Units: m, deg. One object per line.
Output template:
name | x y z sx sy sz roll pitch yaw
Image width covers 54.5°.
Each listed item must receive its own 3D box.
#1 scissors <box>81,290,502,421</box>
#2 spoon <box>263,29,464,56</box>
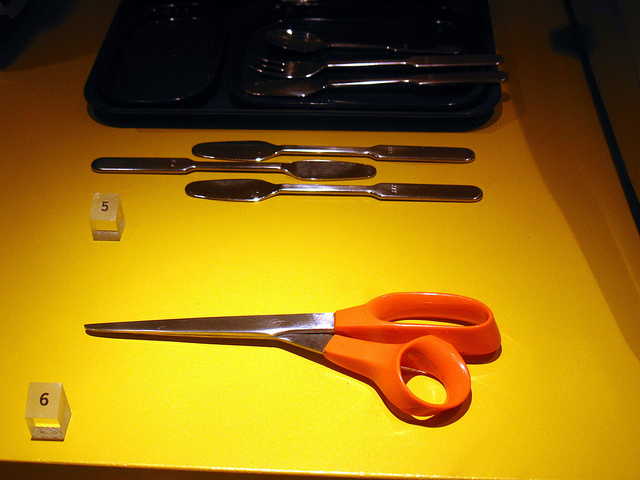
scissors | -0.046 0.220 1.045 0.711 0.102 0.251 2 42 0
spoon | 0.099 -0.440 1.398 0.381 0.019 0.060 6 58 -1
